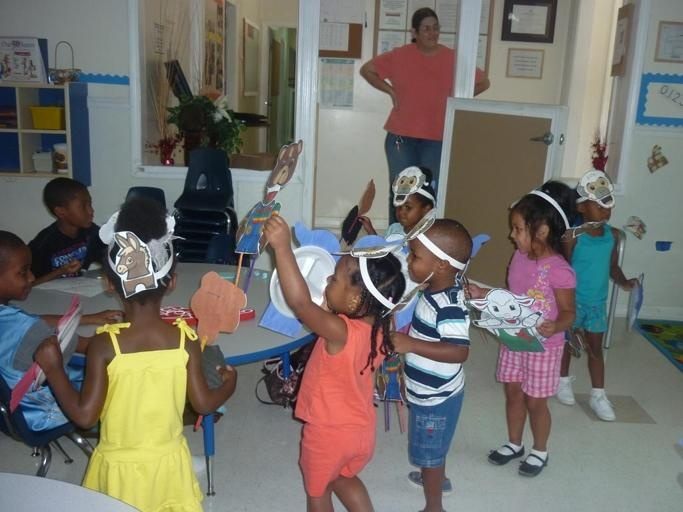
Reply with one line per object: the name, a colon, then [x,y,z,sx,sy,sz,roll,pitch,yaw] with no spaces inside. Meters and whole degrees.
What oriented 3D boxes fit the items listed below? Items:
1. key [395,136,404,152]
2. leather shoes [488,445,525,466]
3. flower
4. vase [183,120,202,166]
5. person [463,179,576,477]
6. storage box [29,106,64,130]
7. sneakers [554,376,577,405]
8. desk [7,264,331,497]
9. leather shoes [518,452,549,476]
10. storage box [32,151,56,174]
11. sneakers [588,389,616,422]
key: [0.457,-0.881,4.513,0.055,0.098,0.027,1,1,21]
leather shoes: [0.788,0.959,2.776,0.167,0.068,0.081,-14,54,-2]
flower: [-1.013,-0.987,4.269,0.490,0.513,0.366,9,44,1]
vase: [-1.108,-0.900,4.319,0.105,0.191,0.105,5,15,-11]
person: [0.876,0.350,2.658,0.371,1.319,0.560,12,20,34]
storage box: [-2.119,-1.009,4.202,0.217,0.151,0.159,4,18,3]
sneakers: [1.286,0.778,3.381,0.105,0.136,0.311,0,0,5]
desk: [-0.652,0.470,2.121,0.755,0.497,0.788,-1,15,-7]
leather shoes: [0.900,0.976,2.700,0.158,0.070,0.072,-34,35,-30]
storage box: [-2.177,-0.697,4.271,0.140,0.151,0.149,0,15,-4]
sneakers: [1.455,0.824,3.192,0.083,0.099,0.194,-4,8,-1]
